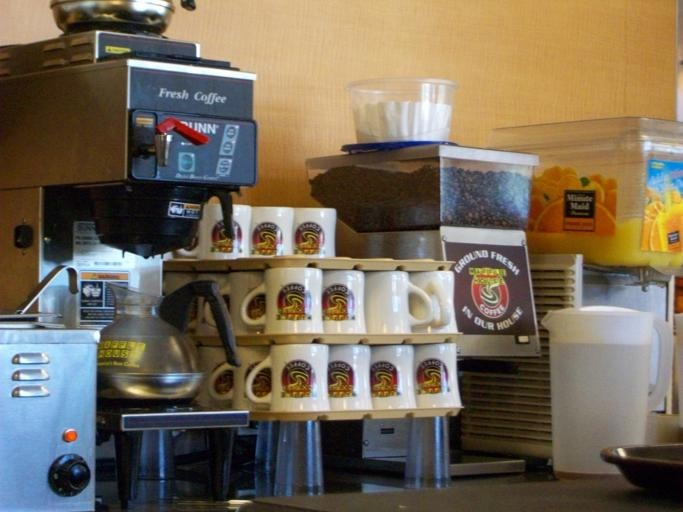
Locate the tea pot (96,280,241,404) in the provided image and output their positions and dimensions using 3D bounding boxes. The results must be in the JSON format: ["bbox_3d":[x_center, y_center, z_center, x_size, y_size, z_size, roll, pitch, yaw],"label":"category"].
[{"bbox_3d":[-0.316,0.149,1.412,0.268,0.202,0.191,0,-4,-6],"label":"tea pot"}]

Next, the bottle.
[{"bbox_3d":[0.520,0.272,1.587,0.209,0.339,0.106,0,-2,5],"label":"bottle"}]
